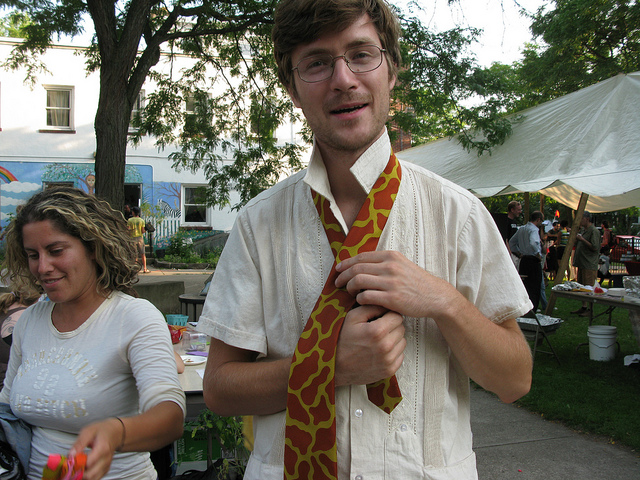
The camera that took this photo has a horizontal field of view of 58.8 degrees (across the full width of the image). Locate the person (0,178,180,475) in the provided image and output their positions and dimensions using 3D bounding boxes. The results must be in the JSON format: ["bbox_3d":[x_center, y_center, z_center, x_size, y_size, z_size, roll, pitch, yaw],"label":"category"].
[{"bbox_3d":[-1.231,0.483,2.967,0.838,1.488,1.294,-4,9,-29],"label":"person"}]

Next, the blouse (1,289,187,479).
[{"bbox_3d":[-1.229,0.762,2.994,1.140,0.683,0.425,-2,-10,12],"label":"blouse"}]

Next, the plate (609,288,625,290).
[{"bbox_3d":[3.877,0.648,7.421,0.082,0.022,0.091,-3,1,-18],"label":"plate"}]

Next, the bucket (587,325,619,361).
[{"bbox_3d":[3.850,1.413,7.847,0.402,0.424,0.407,-1,-1,0],"label":"bucket"}]
